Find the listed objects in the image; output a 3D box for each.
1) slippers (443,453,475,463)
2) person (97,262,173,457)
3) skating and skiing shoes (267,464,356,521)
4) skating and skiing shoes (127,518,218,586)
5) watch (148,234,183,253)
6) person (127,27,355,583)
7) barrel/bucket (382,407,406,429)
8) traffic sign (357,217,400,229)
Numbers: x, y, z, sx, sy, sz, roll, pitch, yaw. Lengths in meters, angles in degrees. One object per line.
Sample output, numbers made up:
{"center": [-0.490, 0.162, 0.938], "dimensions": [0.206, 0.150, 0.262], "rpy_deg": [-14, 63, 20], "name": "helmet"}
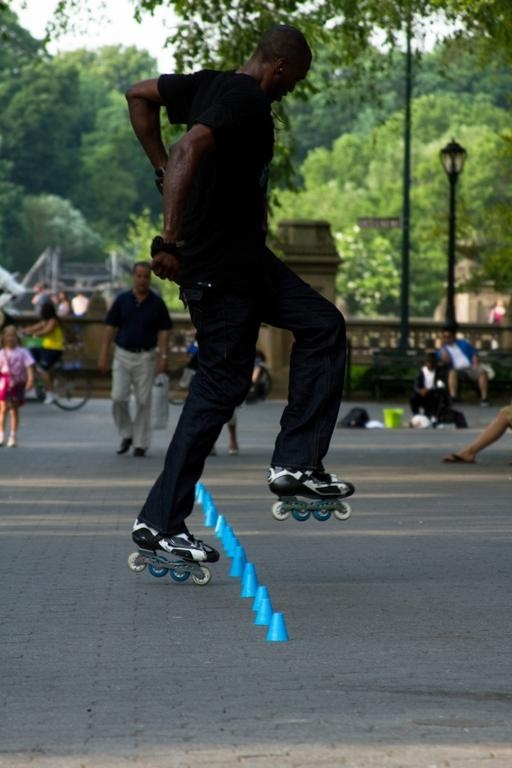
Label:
{"center": [1.716, 0.632, 11.505], "dimensions": [0.235, 0.061, 0.100], "rpy_deg": [5, -1, 7], "name": "slippers"}
{"center": [-1.063, -0.225, 12.269], "dimensions": [0.761, 1.798, 0.806], "rpy_deg": [0, 0, -2], "name": "person"}
{"center": [0.224, 0.413, 5.223], "dimensions": [0.318, 0.215, 0.098], "rpy_deg": [0, -7, 4], "name": "skating and skiing shoes"}
{"center": [-0.315, 0.637, 5.285], "dimensions": [0.343, 0.235, 0.102], "rpy_deg": [10, 10, 14], "name": "skating and skiing shoes"}
{"center": [-0.307, -0.495, 4.810], "dimensions": [0.087, 0.047, 0.061], "rpy_deg": [7, -10, -18], "name": "watch"}
{"center": [-0.050, -0.301, 5.150], "dimensions": [0.880, 2.120, 0.712], "rpy_deg": [3, 7, -16], "name": "person"}
{"center": [1.713, 0.416, 16.938], "dimensions": [0.250, 0.230, 0.266], "rpy_deg": [0, -6, 0], "name": "barrel/bucket"}
{"center": [1.836, -2.370, 19.989], "dimensions": [0.541, 0.179, 0.897], "rpy_deg": [8, 7, 22], "name": "traffic sign"}
